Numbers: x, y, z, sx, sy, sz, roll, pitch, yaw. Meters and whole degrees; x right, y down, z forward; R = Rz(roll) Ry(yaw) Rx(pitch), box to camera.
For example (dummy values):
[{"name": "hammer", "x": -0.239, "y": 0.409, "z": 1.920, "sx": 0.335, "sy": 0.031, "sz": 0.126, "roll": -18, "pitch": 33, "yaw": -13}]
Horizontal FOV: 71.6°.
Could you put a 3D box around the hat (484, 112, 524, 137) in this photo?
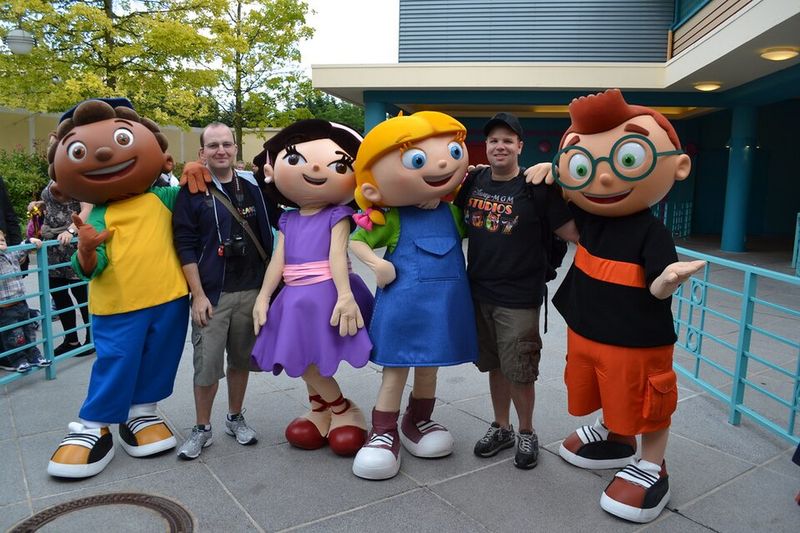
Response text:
[{"name": "hat", "x": 0.841, "y": -1.127, "z": 4.501, "sx": 0.297, "sy": 0.208, "sz": 0.316, "roll": 3, "pitch": 17, "yaw": 7}]

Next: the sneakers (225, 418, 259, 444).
[{"name": "sneakers", "x": -1.352, "y": 1.386, "z": 4.790, "sx": 0.321, "sy": 0.158, "sz": 0.151, "roll": 14, "pitch": 15, "yaw": 38}]

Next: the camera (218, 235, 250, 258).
[{"name": "camera", "x": -1.372, "y": -0.195, "z": 4.619, "sx": 0.162, "sy": 0.166, "sz": 0.228, "roll": 14, "pitch": 17, "yaw": 32}]

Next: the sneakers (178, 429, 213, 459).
[{"name": "sneakers", "x": -1.660, "y": 1.456, "z": 4.541, "sx": 0.131, "sy": 0.153, "sz": 0.340, "roll": -3, "pitch": -3, "yaw": 15}]
